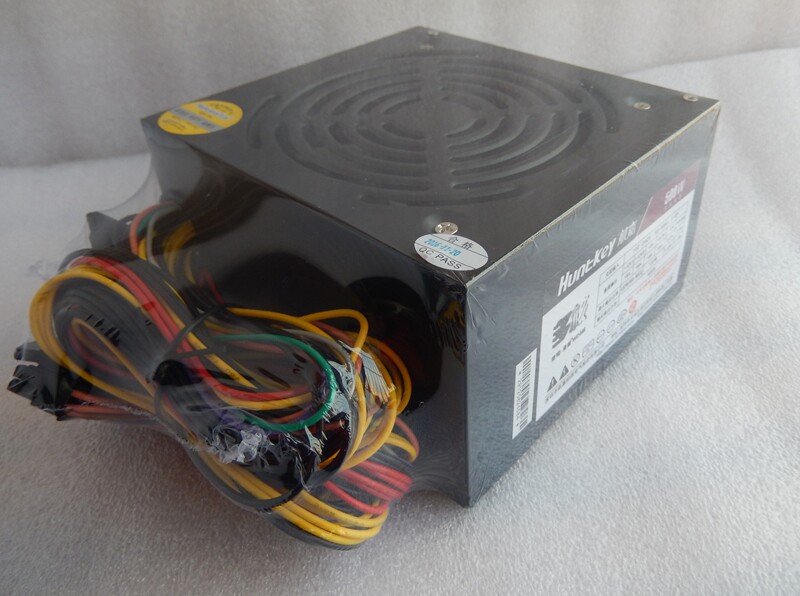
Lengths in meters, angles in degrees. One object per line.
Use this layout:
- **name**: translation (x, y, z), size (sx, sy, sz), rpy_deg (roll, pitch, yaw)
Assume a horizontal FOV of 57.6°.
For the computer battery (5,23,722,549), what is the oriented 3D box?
- **computer battery**: translation (-0.044, -0.042, 0.833), size (0.581, 0.268, 0.682), rpy_deg (24, 52, 27)
